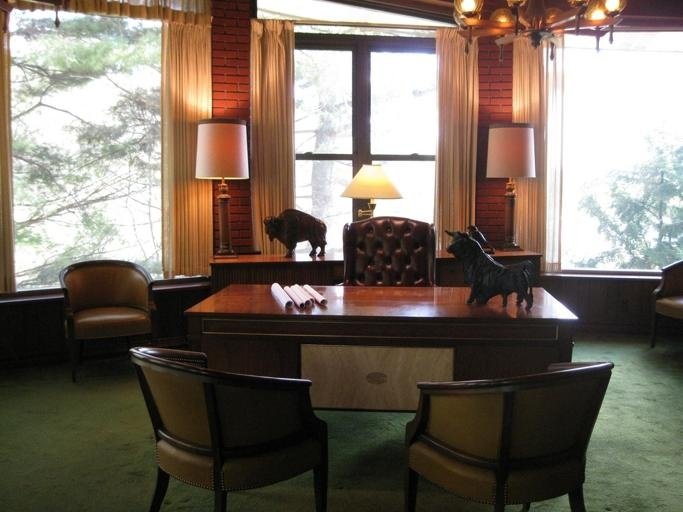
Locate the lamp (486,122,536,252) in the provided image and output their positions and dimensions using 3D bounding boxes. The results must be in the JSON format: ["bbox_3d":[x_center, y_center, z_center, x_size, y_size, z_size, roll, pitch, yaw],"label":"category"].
[{"bbox_3d":[1.605,-0.674,5.436,0.422,1.156,0.488,2,10,15],"label":"lamp"}]

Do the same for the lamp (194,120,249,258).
[{"bbox_3d":[-1.055,-0.615,5.078,0.441,1.165,0.450,-3,9,-13],"label":"lamp"}]

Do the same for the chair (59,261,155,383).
[{"bbox_3d":[-1.873,0.492,4.606,0.668,0.866,0.527,-5,10,-27],"label":"chair"}]

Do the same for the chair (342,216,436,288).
[{"bbox_3d":[0.366,-0.040,4.742,0.528,0.771,0.626,0,2,2],"label":"chair"}]

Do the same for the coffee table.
[{"bbox_3d":[-1.332,0.474,4.617,0.571,0.543,0.204,-1,3,-12],"label":"coffee table"}]
